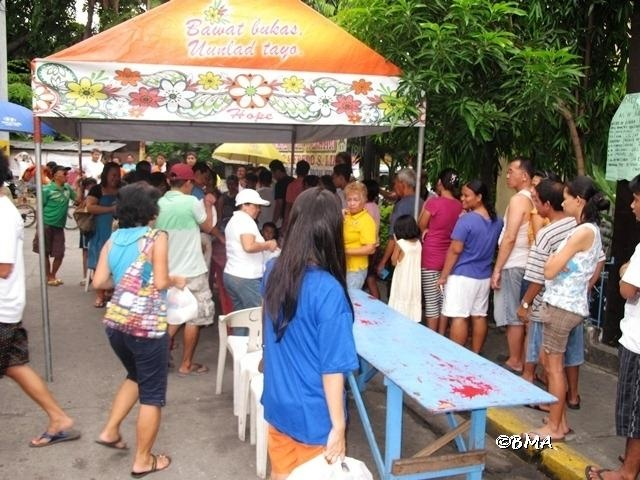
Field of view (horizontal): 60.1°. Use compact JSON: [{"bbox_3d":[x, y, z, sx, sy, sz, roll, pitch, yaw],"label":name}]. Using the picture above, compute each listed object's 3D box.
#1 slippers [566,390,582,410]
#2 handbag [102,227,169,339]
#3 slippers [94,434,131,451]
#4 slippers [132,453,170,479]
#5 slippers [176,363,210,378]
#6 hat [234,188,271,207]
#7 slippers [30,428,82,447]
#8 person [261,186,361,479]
[{"bbox_3d":[2.492,1.594,5.455,0.077,0.169,0.263,-1,-5,3],"label":"slippers"},{"bbox_3d":[-1.437,0.361,4.326,0.465,0.842,0.237,-4,12,-24],"label":"handbag"},{"bbox_3d":[-1.759,1.762,4.765,0.239,0.085,0.123,12,2,-23],"label":"slippers"},{"bbox_3d":[-1.368,1.852,4.540,0.126,0.084,0.264,23,27,37],"label":"slippers"},{"bbox_3d":[-1.419,1.466,6.278,0.244,0.087,0.141,-3,5,-27],"label":"slippers"},{"bbox_3d":[-0.709,-0.462,5.919,0.308,0.167,0.214,-2,10,-13],"label":"hat"},{"bbox_3d":[-2.308,1.702,4.845,0.370,0.095,0.146,0,1,-23],"label":"slippers"},{"bbox_3d":[-0.055,0.617,3.362,0.403,1.850,0.692,-9,15,-43],"label":"person"}]
